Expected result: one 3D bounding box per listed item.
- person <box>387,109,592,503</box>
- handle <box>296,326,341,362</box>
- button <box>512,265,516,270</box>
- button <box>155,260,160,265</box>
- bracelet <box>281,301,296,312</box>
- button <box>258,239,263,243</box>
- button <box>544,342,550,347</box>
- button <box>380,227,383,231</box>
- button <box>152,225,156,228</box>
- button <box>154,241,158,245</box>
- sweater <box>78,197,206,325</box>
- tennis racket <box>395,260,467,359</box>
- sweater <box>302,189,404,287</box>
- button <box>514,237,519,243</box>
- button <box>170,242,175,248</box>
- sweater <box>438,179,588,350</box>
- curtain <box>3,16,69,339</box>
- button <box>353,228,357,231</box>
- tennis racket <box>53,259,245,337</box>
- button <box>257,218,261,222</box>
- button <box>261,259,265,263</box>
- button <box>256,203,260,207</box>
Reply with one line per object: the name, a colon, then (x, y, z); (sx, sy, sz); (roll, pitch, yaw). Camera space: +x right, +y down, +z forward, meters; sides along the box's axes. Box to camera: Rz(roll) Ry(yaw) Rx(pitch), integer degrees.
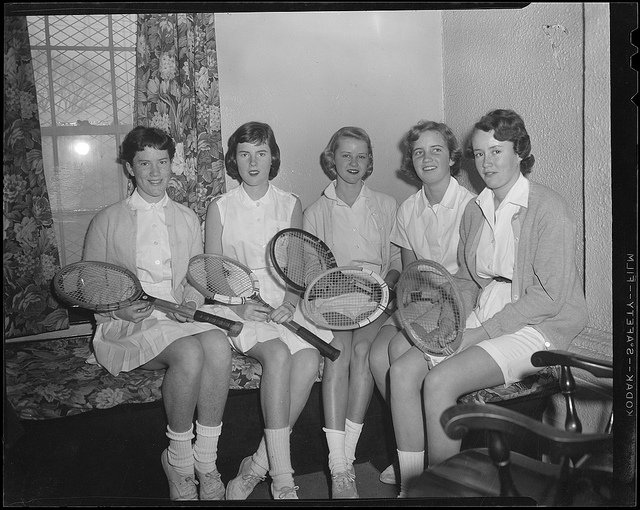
person: (0.621, 0.168, 2.096); (0.733, 1.406, 0.361); (-1, 11, -8)
handle: (-0.010, 0.345, 2.108); (0.168, 0.046, 0.052); (37, 15, 20)
button: (0.720, 0.047, 2.046); (0.011, 0.011, 0.011); (4, 19, 0)
button: (-0.651, 0.030, 2.193); (0.016, 0.017, 0.004); (0, 4, -8)
bracelet: (-0.126, 0.209, 2.201); (0.065, 0.043, 0.041); (-2, 12, -14)
button: (-0.243, -0.057, 2.239); (0.013, 0.013, 0.003); (-2, 12, -17)
button: (0.823, 0.325, 1.995); (0.014, 0.015, 0.003); (1, -12, 7)
button: (0.256, -0.110, 2.293); (0.011, 0.011, 0.003); (-3, 5, -3)
button: (-0.661, -0.113, 2.183); (0.012, 0.012, 0.003); (0, 2, -9)
button: (-0.654, -0.049, 2.186); (0.011, 0.012, 0.003); (4, 8, -7)
sweater: (-0.676, 0.026, 2.255); (0.486, 0.485, 0.269); (-5, -8, -17)
tennis racket: (0.409, 0.215, 2.037); (0.266, 0.335, 0.044); (-21, -8, 31)
sweater: (0.117, -0.082, 2.236); (0.307, 0.318, 0.165); (-8, 17, -10)
button: (0.729, -0.056, 2.040); (0.005, 0.018, 0.017); (3, -2, -37)
button: (-0.588, -0.041, 2.186); (0.019, 0.019, 0.005); (-1, 3, -12)
sweater: (0.722, 0.032, 2.138); (0.540, 0.644, 0.485); (-3, 13, 9)
curtain: (-1.171, -0.290, 2.193); (0.227, 1.268, 0.137); (-5, 13, -26)
button: (0.143, -0.106, 2.272); (0.012, 0.012, 0.003); (-18, 11, -6)
tennis racket: (-0.683, 0.209, 2.181); (0.774, 0.320, 0.069); (16, -24, 17)
button: (-0.246, -0.140, 2.213); (0.013, 0.016, 0.003); (-1, 11, -9)
button: (-0.234, 0.023, 2.242); (0.012, 0.013, 0.003); (0, 5, -7)
button: (-0.249, -0.203, 2.203); (0.014, 0.015, 0.004); (0, 2, -9)
